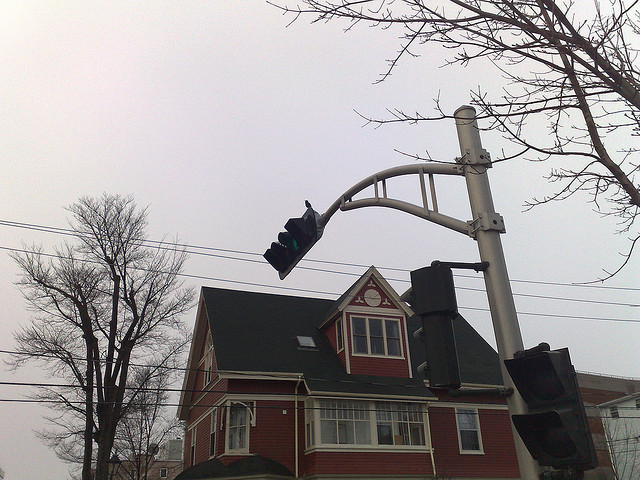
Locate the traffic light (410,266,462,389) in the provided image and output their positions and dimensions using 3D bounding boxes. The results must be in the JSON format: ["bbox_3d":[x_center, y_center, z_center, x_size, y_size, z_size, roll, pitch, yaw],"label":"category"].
[{"bbox_3d":[1.264,0.967,7.086,0.540,1.303,0.275,-15,-25,25],"label":"traffic light"}]

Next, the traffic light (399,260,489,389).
[{"bbox_3d":[1.283,0.904,7.004,0.482,1.344,0.902,21,-37,-38],"label":"traffic light"}]

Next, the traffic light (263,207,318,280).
[{"bbox_3d":[-0.458,0.031,9.973,0.324,0.778,1.124,16,-35,-32],"label":"traffic light"}]

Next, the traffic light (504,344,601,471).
[{"bbox_3d":[2.309,1.740,6.513,0.694,1.112,0.526,-14,-30,18],"label":"traffic light"}]
